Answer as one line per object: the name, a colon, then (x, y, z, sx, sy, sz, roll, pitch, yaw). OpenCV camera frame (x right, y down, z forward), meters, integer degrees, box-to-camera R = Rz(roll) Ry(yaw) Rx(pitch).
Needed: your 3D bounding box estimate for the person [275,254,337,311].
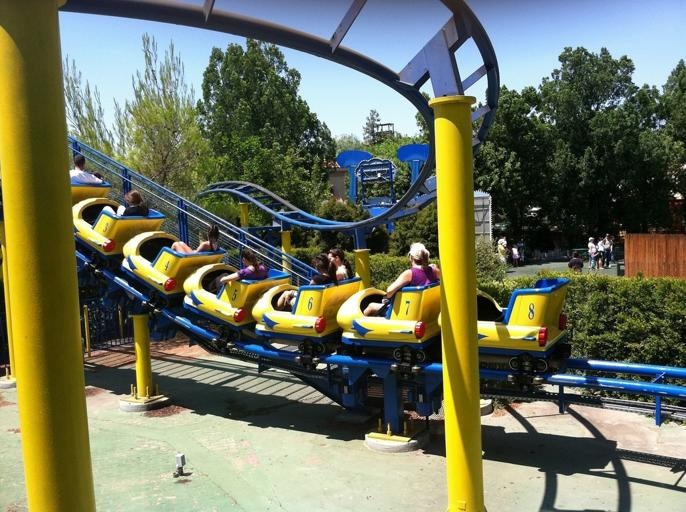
person: (-0.463, 0.375, 9.549, 0.840, 0.372, 0.605, -24, -9, 25)

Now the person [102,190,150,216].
person: (-3.127, -0.781, 10.897, 0.446, 0.368, 0.722, -4, 8, -15)

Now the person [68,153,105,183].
person: (-4.197, -1.441, 12.019, 0.454, 0.495, 0.847, -5, 9, -18)

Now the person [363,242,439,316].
person: (0.653, 0.325, 9.038, 1.055, 0.761, 0.695, -8, -3, 37)

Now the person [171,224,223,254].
person: (-2.224, -0.249, 10.711, 0.802, 0.449, 0.343, 7, 8, 16)

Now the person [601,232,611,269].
person: (10.178, -0.159, 28.279, 0.359, 1.280, 1.159, 1, 9, 19)
